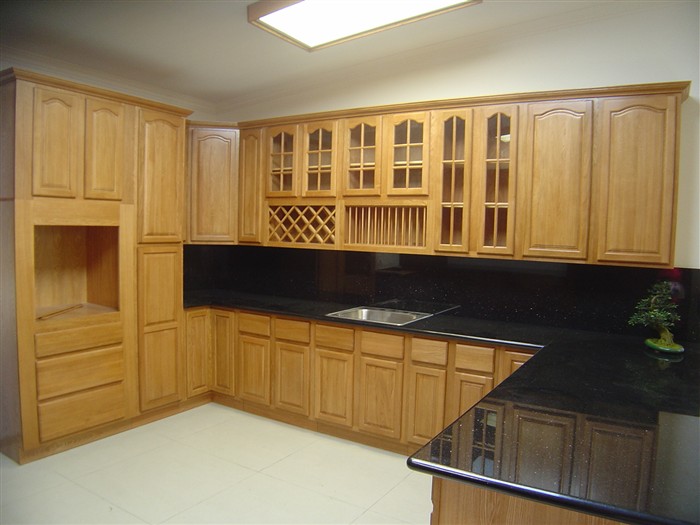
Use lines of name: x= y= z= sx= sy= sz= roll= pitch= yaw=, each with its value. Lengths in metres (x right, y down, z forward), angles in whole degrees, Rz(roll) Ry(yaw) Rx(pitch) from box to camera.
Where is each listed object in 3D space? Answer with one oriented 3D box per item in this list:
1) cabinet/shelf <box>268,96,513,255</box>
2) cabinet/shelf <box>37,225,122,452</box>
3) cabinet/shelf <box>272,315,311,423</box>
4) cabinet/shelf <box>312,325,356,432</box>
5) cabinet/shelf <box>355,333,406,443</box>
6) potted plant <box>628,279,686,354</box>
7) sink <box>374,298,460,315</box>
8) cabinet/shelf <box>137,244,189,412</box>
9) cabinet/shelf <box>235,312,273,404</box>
cabinet/shelf: x=0.383 y=-0.706 z=4.145 sx=1.498 sy=0.759 sz=0.204 roll=2 pitch=1 yaw=31
cabinet/shelf: x=-2.230 y=0.499 z=4.105 sx=0.741 sy=1.555 sz=0.756 roll=-8 pitch=14 yaw=-39
cabinet/shelf: x=-0.637 y=0.945 z=4.479 sx=0.528 sy=0.780 sz=0.509 roll=8 pitch=-26 yaw=-17
cabinet/shelf: x=-0.268 y=0.950 z=4.323 sx=0.394 sy=0.801 sz=0.430 roll=-8 pitch=-18 yaw=36
cabinet/shelf: x=0.376 y=0.958 z=4.116 sx=0.452 sy=0.812 sz=0.452 roll=5 pitch=-4 yaw=-40
potted plant: x=2.076 y=0.351 z=3.416 sx=0.330 sy=0.411 sz=0.390 roll=8 pitch=12 yaw=30
sink: x=0.545 y=0.365 z=4.345 sx=0.748 sy=0.113 sz=0.154 roll=7 pitch=12 yaw=30
cabinet/shelf: x=-1.654 y=0.543 z=4.425 sx=0.477 sy=1.401 sz=0.213 roll=-9 pitch=15 yaw=-40
cabinet/shelf: x=-0.867 y=0.843 z=4.567 sx=0.448 sy=0.778 sz=0.136 roll=10 pitch=14 yaw=38
